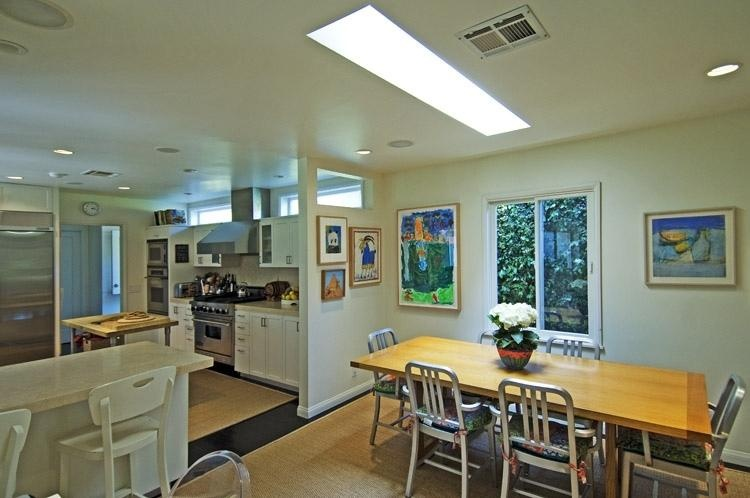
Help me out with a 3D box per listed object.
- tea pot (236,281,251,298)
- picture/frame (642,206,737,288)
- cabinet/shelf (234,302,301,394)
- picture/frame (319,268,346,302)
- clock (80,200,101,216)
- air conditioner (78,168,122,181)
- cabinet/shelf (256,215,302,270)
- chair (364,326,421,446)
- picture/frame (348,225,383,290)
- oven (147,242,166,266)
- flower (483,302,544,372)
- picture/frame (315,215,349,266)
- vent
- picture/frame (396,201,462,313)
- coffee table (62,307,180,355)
[{"bbox_3d":[-2.155,0.651,7.978,0.259,0.254,0.174,3,1,37],"label":"tea pot"},{"bbox_3d":[3.075,-0.021,4.798,0.821,0.869,0.035,1,3,33],"label":"picture/frame"},{"bbox_3d":[-1.279,1.302,6.945,1.316,1.073,0.690,2,4,32],"label":"cabinet/shelf"},{"bbox_3d":[-0.525,0.429,5.977,0.055,0.334,0.403,-7,-8,38],"label":"picture/frame"},{"bbox_3d":[-4.657,-0.663,8.160,0.079,0.247,0.280,7,15,32],"label":"clock"},{"bbox_3d":[-3.574,-0.988,6.488,0.411,0.130,0.551,-7,13,-29],"label":"air conditioner"},{"bbox_3d":[-1.259,-0.084,7.108,0.866,0.717,0.304,-3,-4,28],"label":"cabinet/shelf"},{"bbox_3d":[0.345,1.431,5.243,0.785,1.117,0.812,-1,-1,18],"label":"chair"},{"bbox_3d":[-0.143,0.105,6.407,0.136,0.985,0.872,-2,-2,39],"label":"picture/frame"},{"bbox_3d":[-3.741,0.082,8.535,0.397,0.356,0.216,-3,-4,38],"label":"oven"},{"bbox_3d":[1.287,0.799,4.643,0.554,0.653,0.557,1,-4,3],"label":"flower"},{"bbox_3d":[-0.536,-0.108,5.976,0.093,0.716,0.634,0,1,39],"label":"picture/frame"},{"bbox_3d":[-2.108,-0.439,7.718,1.004,0.998,1.145,-1,1,-40],"label":"vent"},{"bbox_3d":[0.670,0.080,6.276,1.006,1.304,0.279,7,15,32],"label":"picture/frame"},{"bbox_3d":[-3.174,0.927,6.151,1.017,0.677,1.077,2,1,36],"label":"coffee table"}]
